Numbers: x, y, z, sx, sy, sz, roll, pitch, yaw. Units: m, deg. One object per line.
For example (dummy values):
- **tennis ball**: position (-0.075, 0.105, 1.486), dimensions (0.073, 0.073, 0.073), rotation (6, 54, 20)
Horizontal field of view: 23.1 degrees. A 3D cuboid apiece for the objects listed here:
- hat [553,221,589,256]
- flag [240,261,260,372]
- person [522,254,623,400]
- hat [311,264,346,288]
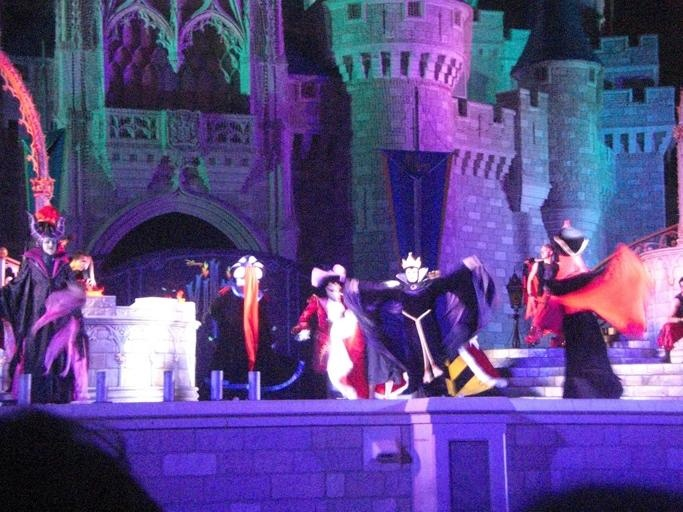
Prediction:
- **hat**: position (3.846, -0.314, 28.149), dimensions (0.558, 0.411, 0.738), rotation (-6, 31, 7)
- **flag**: position (-1.497, 1.009, 28.352), dimensions (0.338, 1.770, 0.285), rotation (0, -4, -19)
- **person**: position (3.916, 1.203, 27.375), dimensions (1.239, 2.187, 0.697), rotation (-4, -5, 42)
- **hat**: position (-0.238, 0.317, 27.531), dimensions (0.491, 0.300, 0.364), rotation (-22, -7, 31)
